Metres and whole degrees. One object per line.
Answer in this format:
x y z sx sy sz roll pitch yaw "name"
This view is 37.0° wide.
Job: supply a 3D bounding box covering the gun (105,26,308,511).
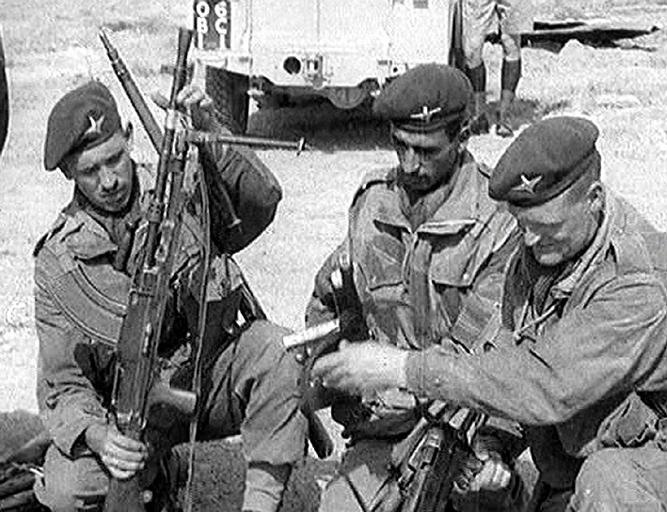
-0.755 0.213 4.967 0.824 2.629 0.683 -2 13 -12 "gun"
